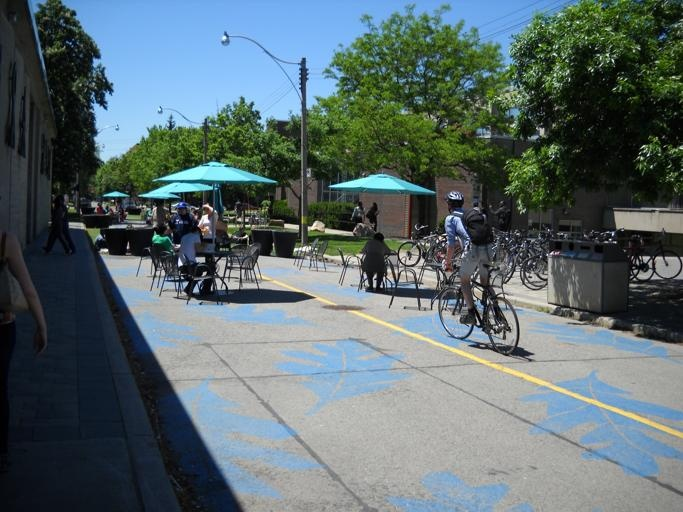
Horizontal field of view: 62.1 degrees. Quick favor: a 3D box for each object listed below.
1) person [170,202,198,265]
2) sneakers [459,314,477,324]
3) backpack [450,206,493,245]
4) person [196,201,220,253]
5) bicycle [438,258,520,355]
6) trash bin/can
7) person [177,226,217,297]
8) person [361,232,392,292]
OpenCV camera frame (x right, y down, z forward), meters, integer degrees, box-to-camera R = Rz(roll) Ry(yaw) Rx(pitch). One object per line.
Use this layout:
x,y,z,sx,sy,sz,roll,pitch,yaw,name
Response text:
-4.664,-0.512,16.497,0.640,2.199,0.547,2,23,-20,person
2.033,1.033,9.200,0.201,0.164,0.131,-3,0,30,sneakers
2.076,-0.459,8.822,0.449,0.715,0.616,-7,-11,-16,backpack
-4.139,-0.638,17.561,0.569,1.829,0.537,-6,18,-23,person
2.273,0.823,9.154,0.721,1.192,1.880,2,6,-13,bicycle
5.203,0.413,12.186,0.776,1.450,1.511,-1,4,-21,trash bin/can
-3.321,0.155,13.067,0.812,1.576,2.079,0,3,-15,person
0.866,0.180,14.502,0.678,1.524,1.225,1,3,4,person
